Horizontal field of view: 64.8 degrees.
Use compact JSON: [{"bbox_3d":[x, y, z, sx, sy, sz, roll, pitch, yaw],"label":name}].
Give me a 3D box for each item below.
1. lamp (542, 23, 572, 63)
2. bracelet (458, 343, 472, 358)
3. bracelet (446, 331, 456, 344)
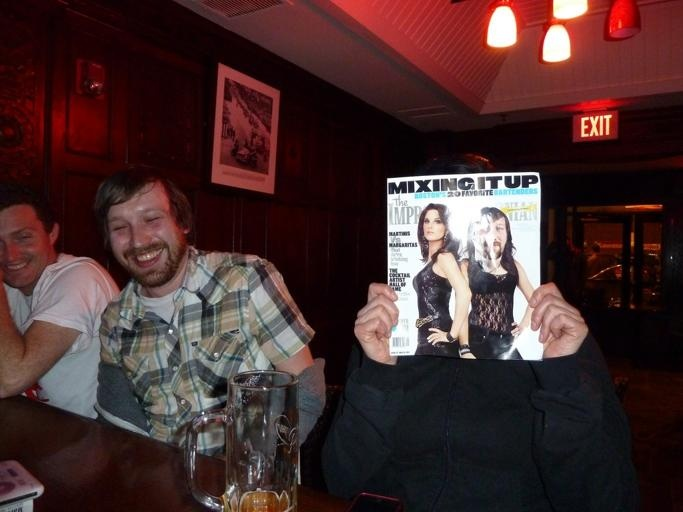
[{"bbox_3d":[1.351,-1.312,3.288,0.164,0.190,0.172,22,40,19],"label":"lamp"},{"bbox_3d":[0.346,0.266,1.504,0.018,0.022,0.055,-2,0,-2],"label":"bracelet"},{"bbox_3d":[0.308,0.229,1.512,0.026,0.026,0.006,1,4,0],"label":"bracelet"}]
